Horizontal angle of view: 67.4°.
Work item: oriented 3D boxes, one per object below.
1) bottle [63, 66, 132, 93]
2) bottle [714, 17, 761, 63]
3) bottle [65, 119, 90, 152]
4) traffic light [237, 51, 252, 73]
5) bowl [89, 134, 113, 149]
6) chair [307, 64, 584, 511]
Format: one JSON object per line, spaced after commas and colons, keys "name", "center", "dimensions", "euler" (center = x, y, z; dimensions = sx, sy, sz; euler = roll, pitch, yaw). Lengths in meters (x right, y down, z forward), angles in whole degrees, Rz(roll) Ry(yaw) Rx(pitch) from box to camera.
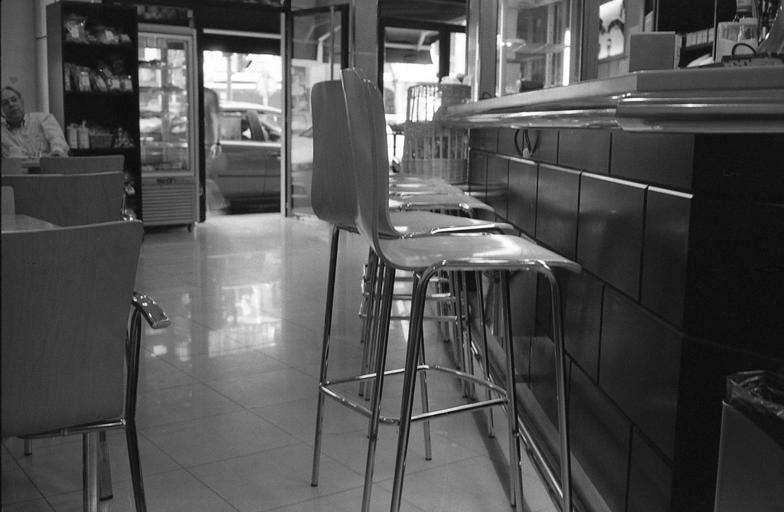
{"name": "bottle", "center": [-3.444, -2.024, 6.841], "dimensions": [0.453, 0.161, 0.437], "euler": [2, 9, 0]}
{"name": "bottle", "center": [1.068, -0.668, 1.818], "dimensions": [0.115, 0.130, 0.238], "euler": [7, 15, 25]}
{"name": "bottle", "center": [-3.594, -1.359, 6.772], "dimensions": [0.265, 0.358, 0.361], "euler": [-2, 15, -23]}
{"name": "traffic light", "center": [-2.321, -3.050, 9.357], "dimensions": [0.284, 0.284, 0.263], "euler": [1, 28, -8]}
{"name": "bowl", "center": [-3.434, -1.329, 6.900], "dimensions": [0.190, 0.149, 0.189], "euler": [1, 11, 0]}
{"name": "chair", "center": [0.126, 0.145, 2.125], "dimensions": [0.850, 1.529, 1.261], "euler": [-5, 15, -19]}
